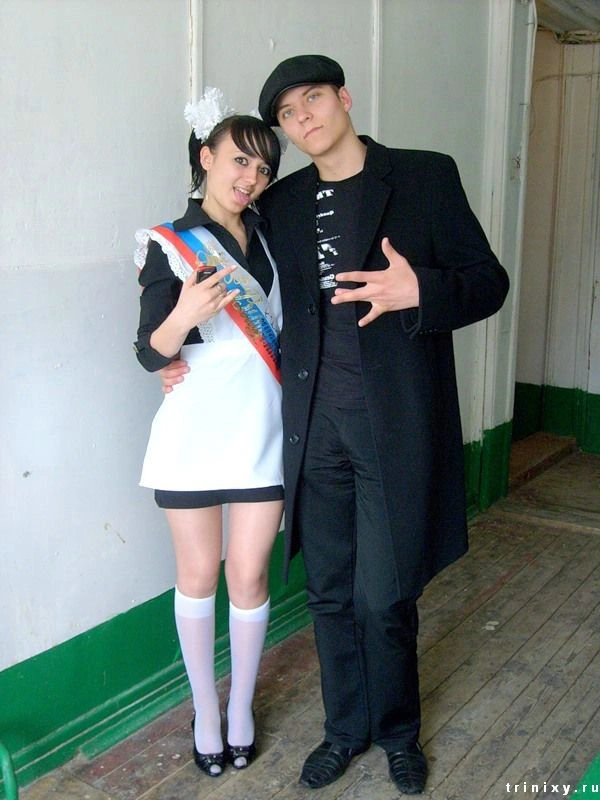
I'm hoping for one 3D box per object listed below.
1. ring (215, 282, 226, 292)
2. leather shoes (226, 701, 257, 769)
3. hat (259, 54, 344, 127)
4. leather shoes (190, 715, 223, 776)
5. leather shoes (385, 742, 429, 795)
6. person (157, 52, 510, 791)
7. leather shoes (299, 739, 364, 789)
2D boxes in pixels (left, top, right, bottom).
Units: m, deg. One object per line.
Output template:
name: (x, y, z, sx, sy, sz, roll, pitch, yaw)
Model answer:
ring: (-0.149, -0.208, 1.285, 0.014, 0.019, 0.026, -4, -19, 16)
leather shoes: (-0.147, 0.878, 1.754, 0.064, 0.034, 0.142, -1, 1, 2)
hat: (-0.011, -0.663, 1.478, 0.184, 0.130, 0.121, 4, 10, 23)
leather shoes: (-0.228, 0.867, 1.765, 0.073, 0.047, 0.237, 0, 13, -10)
leather shoes: (0.255, 0.865, 1.629, 0.054, 0.053, 0.136, -5, 14, -5)
person: (0.157, 0.091, 1.589, 0.412, 1.652, 0.499, -5, 10, -26)
leather shoes: (0.082, 0.861, 1.697, 0.066, 0.069, 0.180, 12, 11, 35)
